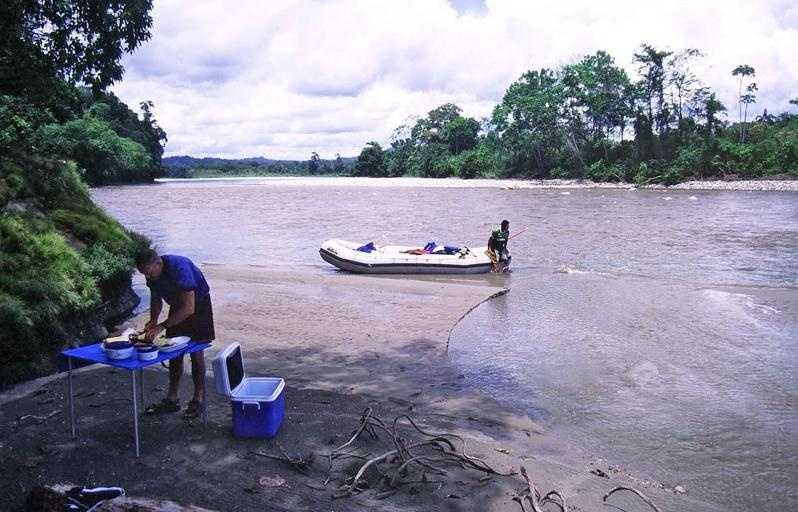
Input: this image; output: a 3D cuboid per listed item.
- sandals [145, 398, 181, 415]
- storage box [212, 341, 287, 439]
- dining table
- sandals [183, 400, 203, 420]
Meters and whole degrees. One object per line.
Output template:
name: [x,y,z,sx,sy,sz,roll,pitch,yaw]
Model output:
sandals: [-4.129,2.615,9.995,0.521,0.204,0.232,2,-2,-14]
storage box: [-2.567,2.280,9.957,1.304,1.349,1.206,5,8,20]
dining table: [-4.474,2.304,9.878,2.112,1.291,1.925,-2,-1,13]
sandals: [-3.553,2.651,9.900,0.382,0.229,0.162,9,2,42]
